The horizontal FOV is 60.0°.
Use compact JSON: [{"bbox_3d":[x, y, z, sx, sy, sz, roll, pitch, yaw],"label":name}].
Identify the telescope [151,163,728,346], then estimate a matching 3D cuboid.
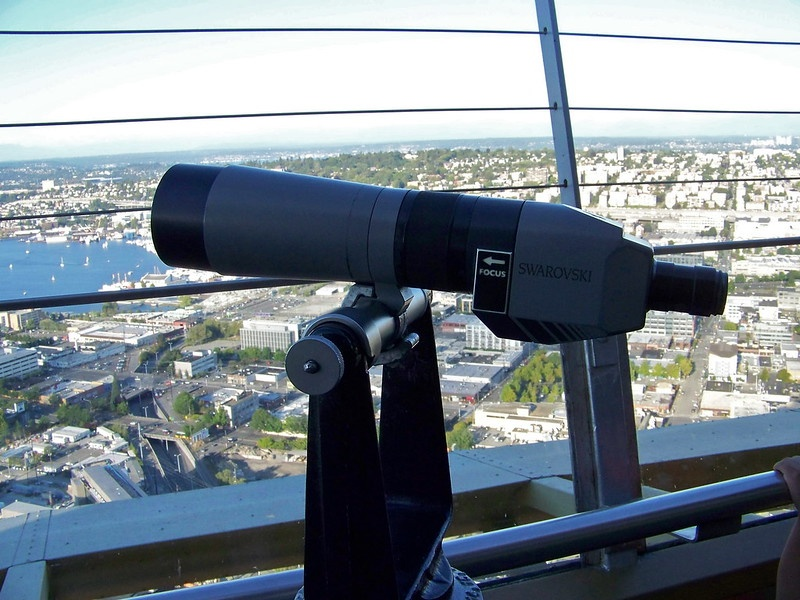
[{"bbox_3d":[0.032,-0.078,1.323,1.159,0.308,0.249,9,9,25],"label":"telescope"}]
